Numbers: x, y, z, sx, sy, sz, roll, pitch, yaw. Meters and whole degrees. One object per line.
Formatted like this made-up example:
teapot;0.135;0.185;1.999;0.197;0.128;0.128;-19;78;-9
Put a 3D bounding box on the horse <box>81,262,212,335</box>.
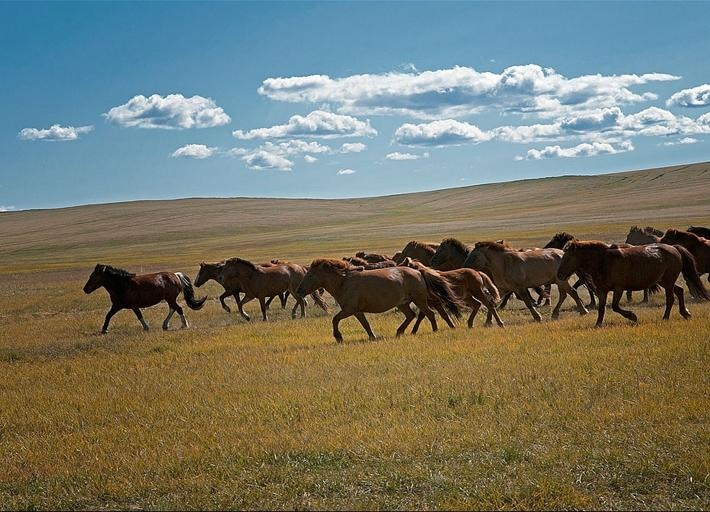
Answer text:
horse;-7.874;1.594;24.307;3.521;2.931;4.278;-8;14;-18
